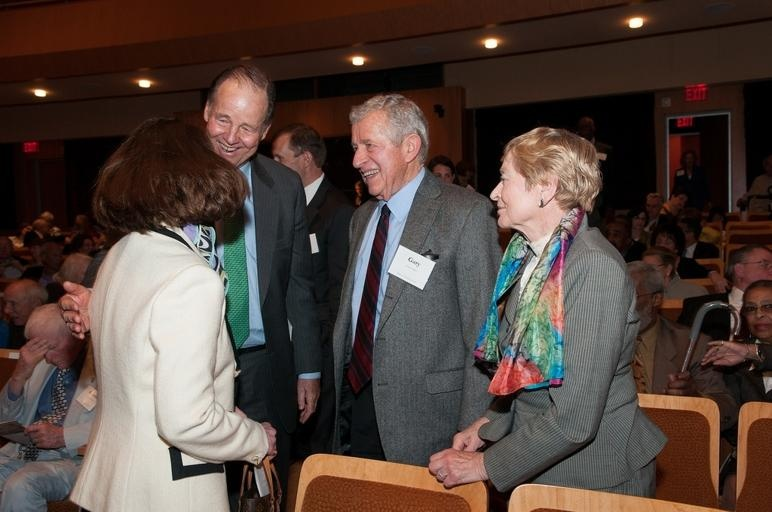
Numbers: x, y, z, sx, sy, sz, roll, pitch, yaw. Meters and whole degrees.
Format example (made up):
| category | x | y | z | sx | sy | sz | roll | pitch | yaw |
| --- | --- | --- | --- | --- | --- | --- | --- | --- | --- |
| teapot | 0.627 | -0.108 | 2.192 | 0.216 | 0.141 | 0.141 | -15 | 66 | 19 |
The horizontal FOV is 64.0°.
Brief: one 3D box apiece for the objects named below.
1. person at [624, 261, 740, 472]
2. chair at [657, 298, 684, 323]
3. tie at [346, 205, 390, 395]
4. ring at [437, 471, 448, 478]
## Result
| category | x | y | z | sx | sy | sz | roll | pitch | yaw |
| --- | --- | --- | --- | --- | --- | --- | --- | --- | --- |
| person | 1.725 | 0.583 | 3.671 | 0.842 | 1.193 | 0.384 | 5 | -11 | 10 |
| chair | 2.033 | 0.394 | 4.425 | 0.192 | 0.197 | 0.108 | 1 | -15 | 9 |
| tie | -0.062 | 0.132 | 3.044 | 0.140 | 1.083 | 0.085 | -11 | -36 | 29 |
| ring | 0.201 | 0.797 | 2.241 | 0.025 | 0.020 | 0.026 | 2 | 7 | 0 |
